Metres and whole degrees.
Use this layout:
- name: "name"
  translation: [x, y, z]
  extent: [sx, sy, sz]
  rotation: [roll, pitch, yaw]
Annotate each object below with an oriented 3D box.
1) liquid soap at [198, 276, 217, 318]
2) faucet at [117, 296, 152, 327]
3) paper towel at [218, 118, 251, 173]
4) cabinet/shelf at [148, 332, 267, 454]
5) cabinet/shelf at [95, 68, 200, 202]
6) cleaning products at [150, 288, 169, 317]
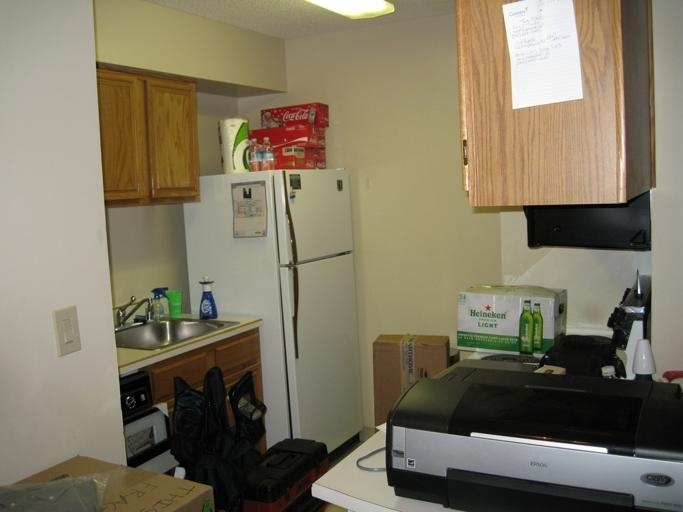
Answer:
- name: "liquid soap"
  translation: [-0.941, 0.282, 3.626]
  extent: [0.120, 0.197, 0.292]
  rotation: [-6, 3, -15]
- name: "faucet"
  translation: [-1.389, 0.350, 3.444]
  extent: [0.219, 0.149, 0.363]
  rotation: [-6, 3, -23]
- name: "paper towel"
  translation: [-0.779, -0.794, 3.777]
  extent: [0.211, 0.393, 0.169]
  rotation: [-6, 3, -12]
- name: "cabinet/shelf"
  translation: [-0.741, 0.734, 2.797]
  extent: [0.361, 0.707, 0.719]
  rotation: [3, 7, 32]
- name: "cabinet/shelf"
  translation: [-1.158, -0.728, 3.351]
  extent: [0.823, 0.802, 0.330]
  rotation: [5, 11, 19]
- name: "cleaning products"
  translation: [-1.254, 0.318, 3.578]
  extent: [0.115, 0.158, 0.277]
  rotation: [-6, 3, -19]
